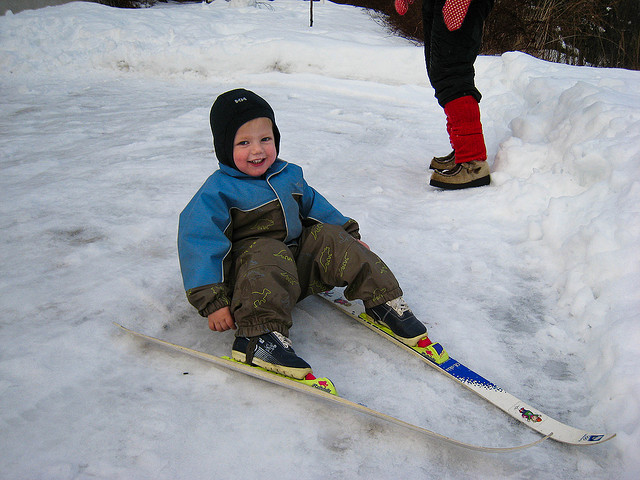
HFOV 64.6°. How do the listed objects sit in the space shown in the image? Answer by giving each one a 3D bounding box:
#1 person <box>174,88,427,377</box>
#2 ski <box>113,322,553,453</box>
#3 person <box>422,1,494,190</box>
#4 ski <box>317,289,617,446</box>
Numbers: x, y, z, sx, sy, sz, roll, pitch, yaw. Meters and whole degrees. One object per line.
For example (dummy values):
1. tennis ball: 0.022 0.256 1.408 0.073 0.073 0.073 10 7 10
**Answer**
1. person: -0.119 -0.088 2.397 1.032 1.004 1.389 -19 36 -37
2. ski: 0.031 0.643 2.138 1.267 0.135 0.091 16 72 20
3. person: 0.944 -0.989 3.481 0.490 1.198 0.626 1 29 5
4. ski: 0.652 0.585 2.231 1.088 0.085 0.108 28 36 20
